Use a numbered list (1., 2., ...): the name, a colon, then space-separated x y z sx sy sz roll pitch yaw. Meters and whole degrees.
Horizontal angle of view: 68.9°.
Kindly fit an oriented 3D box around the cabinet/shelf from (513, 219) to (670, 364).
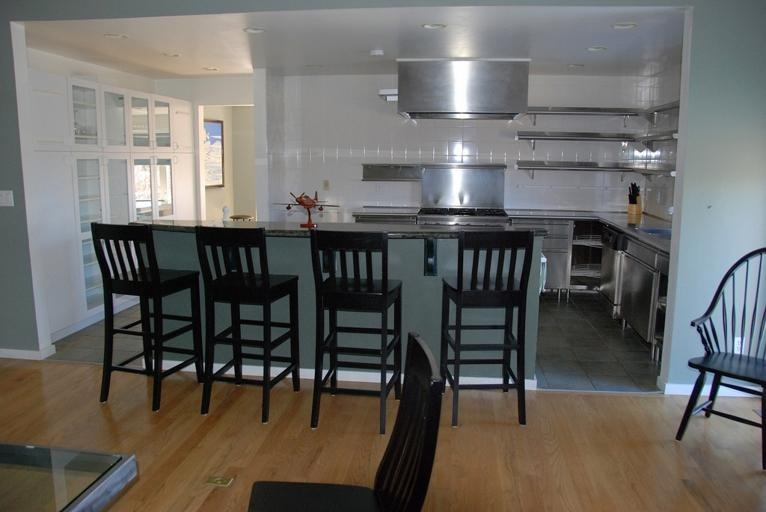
1. cabinet/shelf: 2.434 0.147 6.287 2.104 1.075 1.475 1 4 20

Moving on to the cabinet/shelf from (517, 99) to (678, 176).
1. cabinet/shelf: 2.873 -1.420 6.765 1.439 0.540 1.092 1 5 7

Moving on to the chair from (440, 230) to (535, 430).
1. chair: 0.790 0.498 4.411 0.714 1.474 0.846 2 12 13

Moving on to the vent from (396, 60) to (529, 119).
1. vent: 0.881 -1.873 6.195 1.415 0.566 0.102 0 12 5

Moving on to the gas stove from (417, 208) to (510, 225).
1. gas stove: 0.987 -0.478 6.896 1.120 0.130 0.912 1 11 11

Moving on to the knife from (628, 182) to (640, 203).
1. knife: 3.248 -0.806 7.232 0.142 0.267 0.276 4 12 23

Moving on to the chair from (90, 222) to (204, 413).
1. chair: -1.892 0.423 4.627 0.818 1.410 0.806 0 6 -10
